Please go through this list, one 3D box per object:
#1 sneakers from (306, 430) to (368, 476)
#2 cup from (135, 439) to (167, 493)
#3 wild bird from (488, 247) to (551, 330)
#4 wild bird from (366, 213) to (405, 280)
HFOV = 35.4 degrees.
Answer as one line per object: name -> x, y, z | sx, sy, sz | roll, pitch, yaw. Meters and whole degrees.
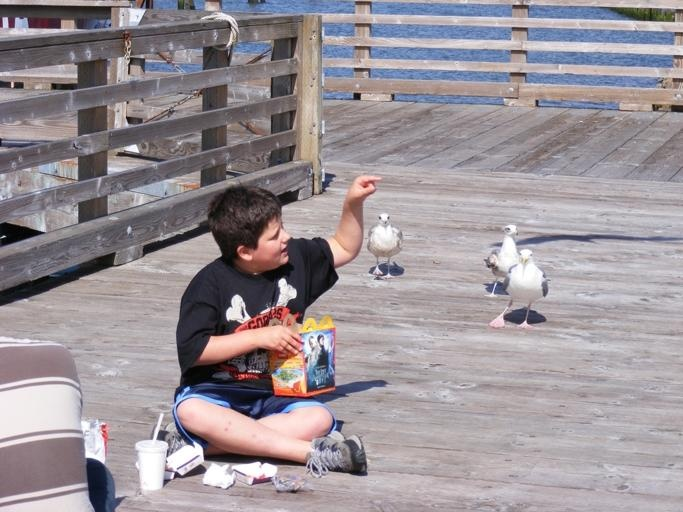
sneakers -> 0.003, 0.882, 4.760 | 0.246, 0.175, 0.164 | 9, 12, 18
cup -> -0.824, 0.901, 4.676 | 0.138, 0.220, 0.142 | 7, 13, -1
wild bird -> 1.076, 0.191, 6.274 | 0.308, 0.397, 0.599 | 5, 2, 23
wild bird -> 0.273, -0.067, 6.865 | 0.278, 0.334, 0.476 | 3, -2, 0
